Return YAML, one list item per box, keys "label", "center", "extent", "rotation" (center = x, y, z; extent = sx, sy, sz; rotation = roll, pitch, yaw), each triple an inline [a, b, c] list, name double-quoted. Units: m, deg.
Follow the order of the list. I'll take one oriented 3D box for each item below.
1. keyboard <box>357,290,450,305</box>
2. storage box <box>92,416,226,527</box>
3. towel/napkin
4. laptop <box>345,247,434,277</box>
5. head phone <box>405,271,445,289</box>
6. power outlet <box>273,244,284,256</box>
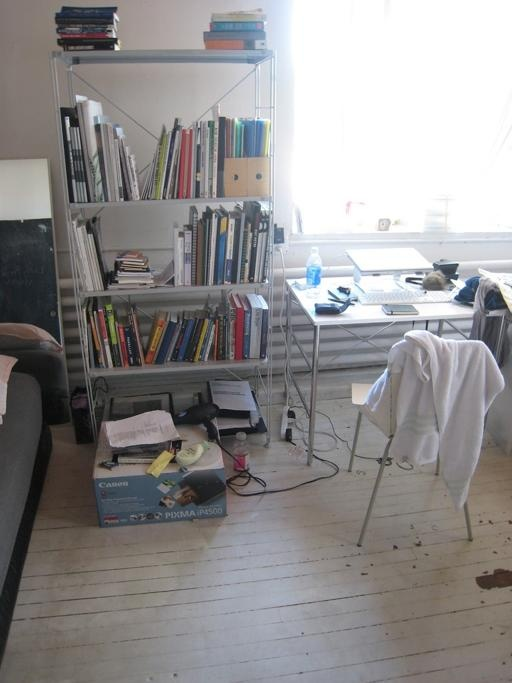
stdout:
- label: "keyboard"
  center: [0.717, -0.215, 2.736]
  extent: [0.469, 0.036, 0.163]
  rotation: [-2, 18, -7]
- label: "storage box"
  center: [-0.422, 0.567, 2.463]
  extent: [0.604, 0.229, 0.581]
  rotation: [-6, 15, -29]
- label: "towel/napkin"
  center: [0.598, 0.279, 1.962]
  extent: [0.442, 0.677, 0.228]
  rotation: [3, 19, 10]
- label: "laptop"
  center: [0.678, -0.408, 2.930]
  extent: [0.376, 0.110, 0.261]
  rotation: [-5, 19, -15]
- label: "head phone"
  center: [0.868, -0.335, 2.930]
  extent: [0.164, 0.069, 0.113]
  rotation: [5, 18, 15]
- label: "power outlet"
  center: [0.127, -0.514, 3.194]
  extent: [0.078, 0.069, 0.048]
  rotation: [1, 19, -3]
